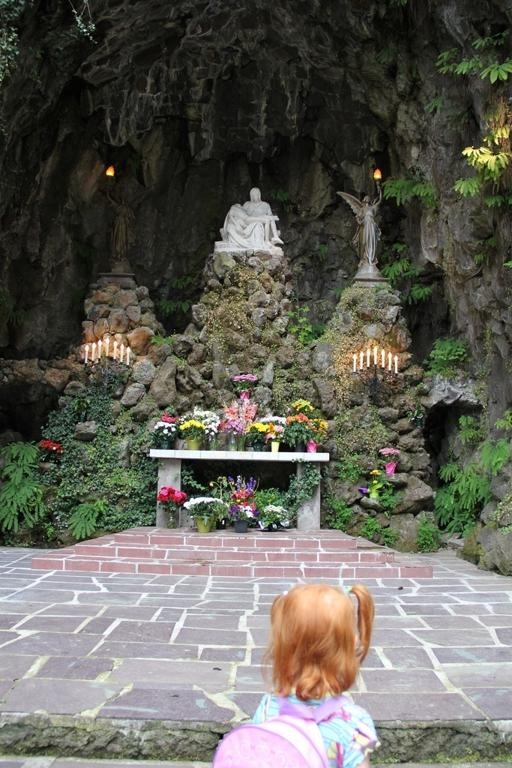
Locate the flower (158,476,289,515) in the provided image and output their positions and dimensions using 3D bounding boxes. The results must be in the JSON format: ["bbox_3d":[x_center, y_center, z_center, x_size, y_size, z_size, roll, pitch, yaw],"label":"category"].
[{"bbox_3d":[-0.499,1.570,9.205,1.166,0.382,0.845,3,-7,3],"label":"flower"}]

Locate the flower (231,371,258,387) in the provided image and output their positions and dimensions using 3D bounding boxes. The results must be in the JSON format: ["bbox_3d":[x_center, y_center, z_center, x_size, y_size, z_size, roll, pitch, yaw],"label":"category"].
[{"bbox_3d":[-0.178,-0.065,11.040,0.441,0.193,0.416,1,-4,-5],"label":"flower"}]

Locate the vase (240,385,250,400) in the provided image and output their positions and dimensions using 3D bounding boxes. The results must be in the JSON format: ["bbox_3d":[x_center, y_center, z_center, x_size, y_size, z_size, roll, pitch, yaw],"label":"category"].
[{"bbox_3d":[-0.186,0.153,10.956,0.158,0.226,0.169,5,-6,-12],"label":"vase"}]
